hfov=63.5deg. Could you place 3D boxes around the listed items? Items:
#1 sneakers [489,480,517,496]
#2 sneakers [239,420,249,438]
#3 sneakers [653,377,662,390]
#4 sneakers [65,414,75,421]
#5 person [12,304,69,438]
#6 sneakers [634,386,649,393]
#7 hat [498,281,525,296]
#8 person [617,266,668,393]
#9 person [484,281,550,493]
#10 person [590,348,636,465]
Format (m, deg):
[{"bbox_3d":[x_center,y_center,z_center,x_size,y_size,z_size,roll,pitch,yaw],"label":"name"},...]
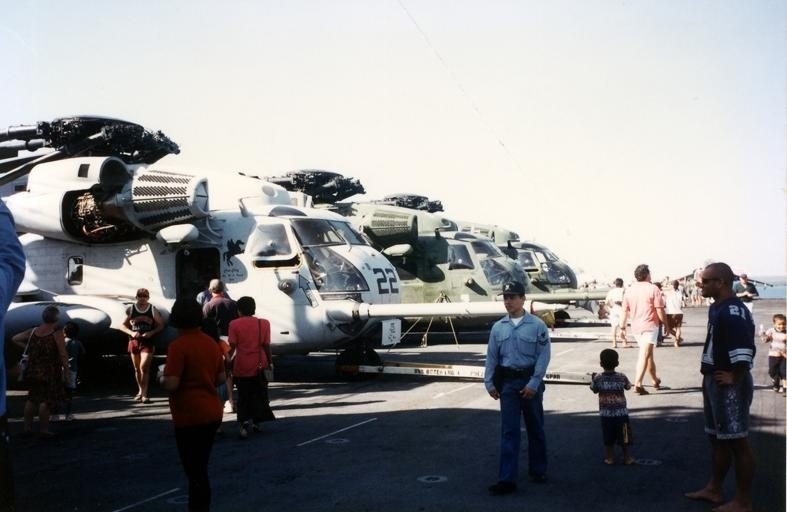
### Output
[{"bbox_3d":[1.254,2.664,7.313,0.387,0.132,0.121,3,-8,-23],"label":"sneakers"},{"bbox_3d":[-2.271,2.647,9.627,0.122,0.310,0.137,2,26,-5],"label":"sneakers"},{"bbox_3d":[4.927,2.391,11.889,0.171,0.113,0.447,-4,-23,10],"label":"sneakers"},{"bbox_3d":[-5.534,2.755,10.881,0.134,0.164,0.063,10,-21,-8],"label":"sneakers"},{"bbox_3d":[-5.837,1.833,10.202,0.716,2.009,0.917,-19,-22,37],"label":"person"},{"bbox_3d":[4.521,2.434,11.597,0.137,0.140,0.403,2,1,33],"label":"sneakers"},{"bbox_3d":[1.506,0.407,7.844,0.249,0.158,0.360,-3,-9,39],"label":"hat"},{"bbox_3d":[4.690,1.344,11.824,0.730,2.408,1.090,-1,0,20],"label":"person"},{"bbox_3d":[1.486,1.521,7.642,0.756,2.522,0.804,-1,0,9],"label":"person"},{"bbox_3d":[2.818,1.936,8.188,0.458,1.487,0.346,-1,0,1],"label":"person"}]
